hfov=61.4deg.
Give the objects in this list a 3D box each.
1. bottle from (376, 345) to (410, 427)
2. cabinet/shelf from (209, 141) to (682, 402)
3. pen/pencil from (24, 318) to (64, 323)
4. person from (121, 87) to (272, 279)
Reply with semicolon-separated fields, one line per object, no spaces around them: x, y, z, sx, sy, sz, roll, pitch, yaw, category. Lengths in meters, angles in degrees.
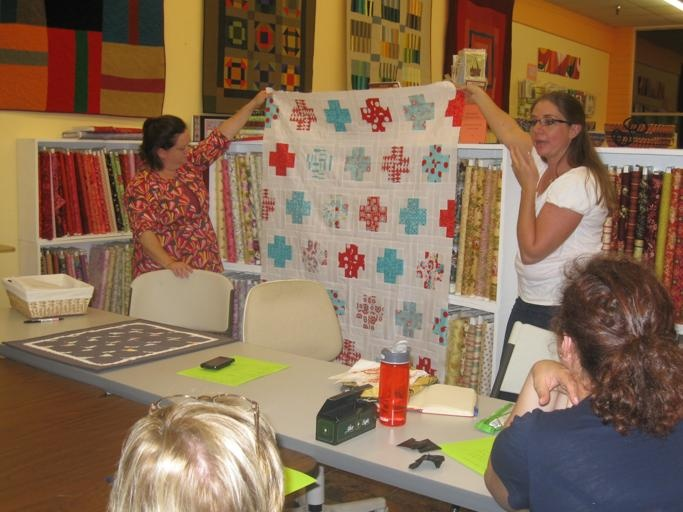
0.146;0.366;1.591;0.076;0.227;0.047;1;11;-1;bottle
0.489;0.039;2.590;1.409;0.792;0.371;8;11;40;cabinet/shelf
-1.265;0.272;2.450;0.132;0.014;0.013;-4;4;-27;pen/pencil
-0.954;-0.438;3.812;0.586;1.449;0.929;12;31;27;person
